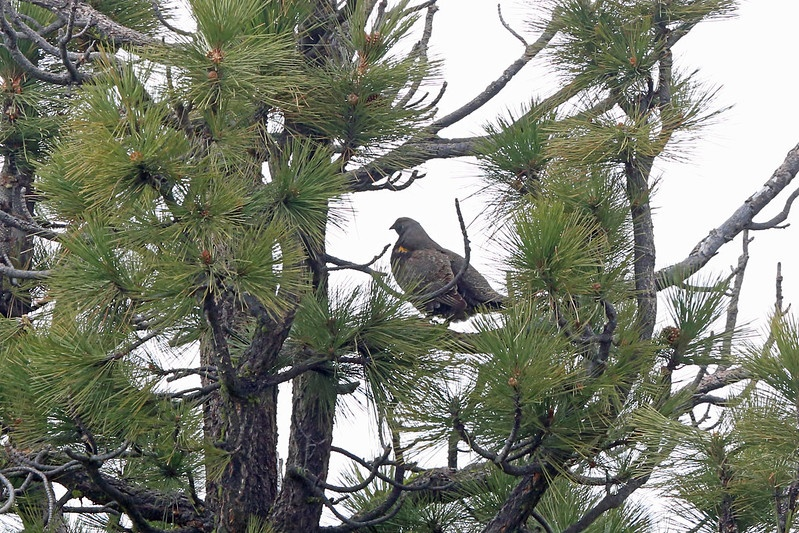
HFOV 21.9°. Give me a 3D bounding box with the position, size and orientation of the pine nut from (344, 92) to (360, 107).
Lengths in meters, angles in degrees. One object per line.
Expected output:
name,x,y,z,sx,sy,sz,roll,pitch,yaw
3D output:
pine nut,-0.239,-0.876,10.829,0.062,0.070,0.065,1,-76,-3

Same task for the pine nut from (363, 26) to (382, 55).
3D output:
pine nut,-0.145,-1.177,10.822,0.100,0.093,0.083,0,-41,16

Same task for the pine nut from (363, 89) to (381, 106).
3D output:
pine nut,-0.141,-0.890,10.885,0.076,0.057,0.035,-16,-84,29

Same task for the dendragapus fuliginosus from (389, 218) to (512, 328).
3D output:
dendragapus fuliginosus,0.333,-0.028,12.867,0.822,0.499,0.659,-3,-91,17
